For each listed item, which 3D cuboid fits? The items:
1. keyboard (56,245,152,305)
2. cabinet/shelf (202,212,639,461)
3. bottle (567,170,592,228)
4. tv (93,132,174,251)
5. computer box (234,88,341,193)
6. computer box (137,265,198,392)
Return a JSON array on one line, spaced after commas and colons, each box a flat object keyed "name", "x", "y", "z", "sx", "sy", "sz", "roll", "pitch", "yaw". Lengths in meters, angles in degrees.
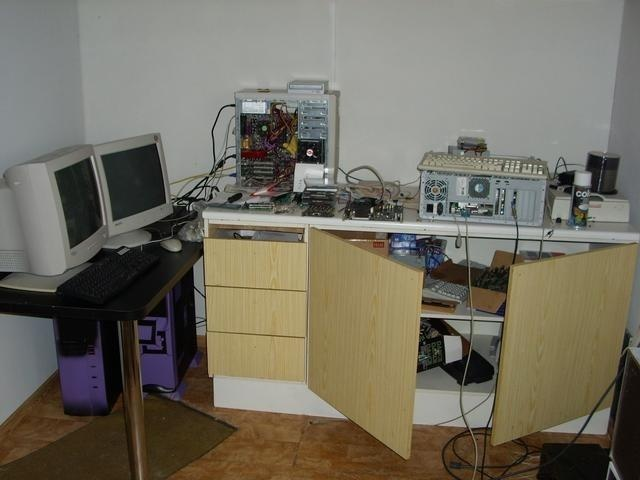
[{"name": "keyboard", "x": -0.952, "y": 0.158, "z": 2.372, "sx": 0.281, "sy": 0.106, "sz": 0.686, "roll": -5, "pitch": 14, "yaw": -1}, {"name": "cabinet/shelf", "x": 0.645, "y": 0.219, "z": 3.519, "sx": 2.350, "sy": 1.115, "sz": 0.974, "roll": 6, "pitch": 18, "yaw": 7}, {"name": "bottle", "x": 1.260, "y": -0.201, "z": 2.519, "sx": 0.085, "sy": 0.268, "sz": 0.137, "roll": 5, "pitch": 11, "yaw": 27}, {"name": "tv", "x": -0.961, "y": -0.271, "z": 2.672, "sx": 0.164, "sy": 0.569, "sz": 0.407, "roll": 11, "pitch": 17, "yaw": 22}, {"name": "computer box", "x": -0.199, "y": -0.575, "z": 2.922, "sx": 0.600, "sy": 0.582, "sz": 0.342, "roll": 0, "pitch": 10, "yaw": 1}, {"name": "computer box", "x": -0.862, "y": 0.516, "z": 2.981, "sx": 0.249, "sy": 0.594, "sz": 0.282, "roll": 4, "pitch": 17, "yaw": -2}]
